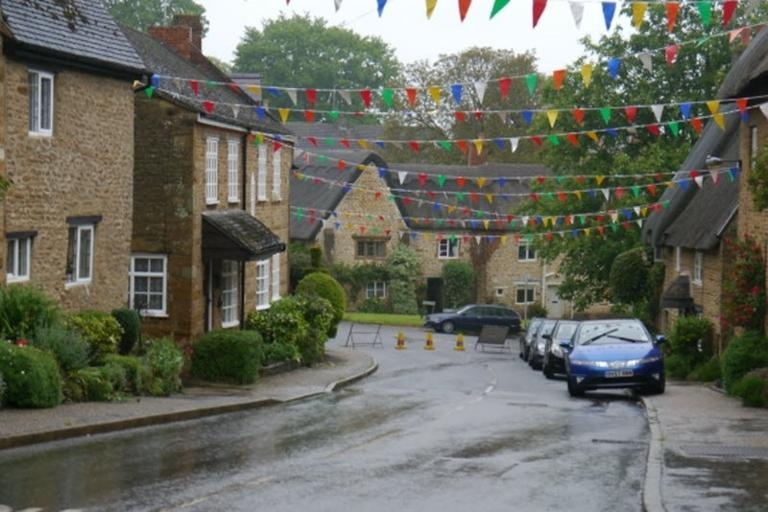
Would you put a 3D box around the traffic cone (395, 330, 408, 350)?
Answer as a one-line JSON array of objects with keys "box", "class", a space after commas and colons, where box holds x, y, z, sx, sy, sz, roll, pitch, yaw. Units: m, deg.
[{"box": [0.763, 3.783, 38.317, 0.582, 0.704, 0.611, 0, -3, -2], "class": "traffic cone"}]

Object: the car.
[{"box": [6.045, 2.774, 22.425, 2.423, 1.960, 2.067, 0, 1, 34], "class": "car"}]

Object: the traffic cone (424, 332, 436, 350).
[{"box": [2.243, 3.891, 38.828, 0.541, 0.848, 0.601, 1, -3, -12], "class": "traffic cone"}]

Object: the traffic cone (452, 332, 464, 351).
[{"box": [3.459, 4.009, 39.412, 0.622, 0.957, 0.643, -1, -1, 9], "class": "traffic cone"}]
